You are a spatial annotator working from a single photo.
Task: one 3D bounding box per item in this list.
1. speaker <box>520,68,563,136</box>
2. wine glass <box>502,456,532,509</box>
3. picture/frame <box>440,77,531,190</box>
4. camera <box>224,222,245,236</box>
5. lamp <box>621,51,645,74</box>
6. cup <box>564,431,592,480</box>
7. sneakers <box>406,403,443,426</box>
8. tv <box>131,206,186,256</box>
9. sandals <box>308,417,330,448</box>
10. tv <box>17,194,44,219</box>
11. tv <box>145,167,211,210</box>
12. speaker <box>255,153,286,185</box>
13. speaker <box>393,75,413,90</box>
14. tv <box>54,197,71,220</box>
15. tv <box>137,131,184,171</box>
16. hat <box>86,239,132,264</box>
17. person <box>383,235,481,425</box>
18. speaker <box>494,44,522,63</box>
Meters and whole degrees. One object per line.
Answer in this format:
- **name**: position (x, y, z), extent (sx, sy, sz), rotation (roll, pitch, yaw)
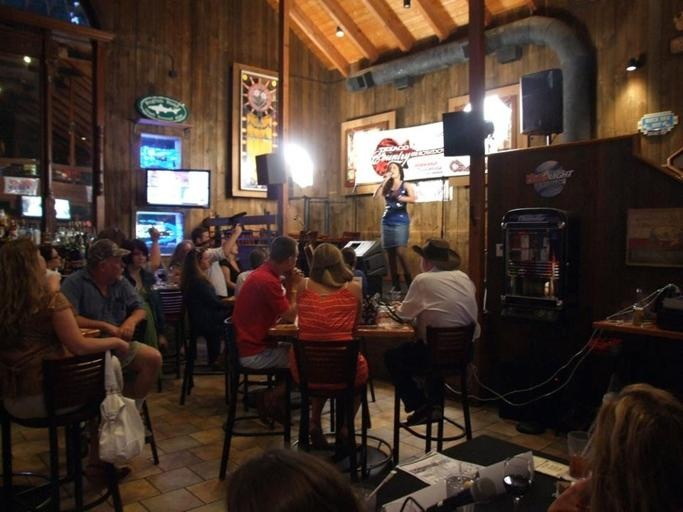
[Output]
- **speaker**: position (2.355, -1.932, 7.080), extent (0.460, 0.810, 0.465), rotation (0, 33, 24)
- **wine glass**: position (0.871, 1.054, 2.882), extent (0.110, 0.176, 0.322), rotation (1, 6, 28)
- **picture/frame**: position (2.522, -2.343, 10.590), extent (1.295, 1.529, 0.102), rotation (6, -23, -3)
- **camera**: position (-1.769, -0.450, 9.842), extent (0.344, 0.183, 0.484), rotation (-3, -2, 7)
- **lamp**: position (4.288, -2.864, 8.783), extent (0.207, 0.304, 0.291), rotation (-4, 4, -25)
- **cup**: position (1.234, 1.066, 3.208), extent (0.139, 0.227, 0.141), rotation (10, -15, 3)
- **sneakers**: position (0.681, 1.284, 4.833), extent (0.341, 0.160, 0.129), rotation (-5, -7, -1)
- **tv**: position (-3.161, -0.446, 10.167), extent (0.864, 0.859, 0.112), rotation (4, -6, -37)
- **sandals**: position (-0.169, 1.397, 4.602), extent (0.172, 0.246, 0.105), rotation (0, 5, 18)
- **tv**: position (-4.644, -0.732, 8.972), extent (0.259, 0.380, 0.382), rotation (-1, -2, 12)
- **tv**: position (-3.077, -1.271, 11.215), extent (1.163, 0.721, 0.201), rotation (-4, 5, -26)
- **speaker**: position (-0.974, -1.167, 7.989), extent (0.362, 0.501, 0.487), rotation (-7, 10, -34)
- **speaker**: position (1.288, -3.513, 12.031), extent (0.408, 0.190, 0.253), rotation (-1, 5, 7)
- **tv**: position (-4.469, -0.753, 9.511), extent (0.203, 0.348, 0.368), rotation (-7, -3, 17)
- **tv**: position (-3.483, -2.028, 11.591), extent (0.776, 0.709, 0.285), rotation (10, 16, 32)
- **hat**: position (-1.859, -0.061, 4.771), extent (0.277, 0.151, 0.180), rotation (-13, 11, -25)
- **person**: position (0.770, 0.621, 5.030), extent (0.802, 1.496, 0.610), rotation (-2, 5, -4)
- **speaker**: position (2.939, -3.541, 10.455), extent (0.262, 0.248, 0.463), rotation (-6, 6, -40)
